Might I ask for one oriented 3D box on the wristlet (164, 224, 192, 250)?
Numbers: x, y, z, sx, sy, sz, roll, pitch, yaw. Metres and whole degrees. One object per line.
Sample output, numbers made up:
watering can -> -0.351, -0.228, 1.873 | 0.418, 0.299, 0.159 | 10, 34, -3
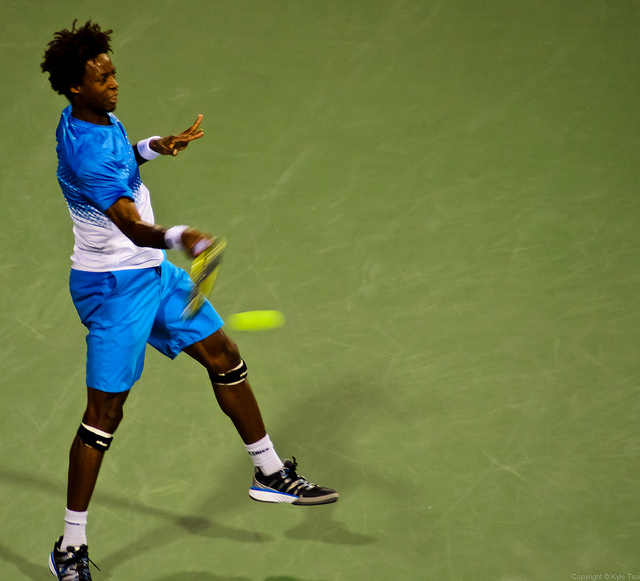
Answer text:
wristlet -> -0.539, -0.197, 3.622 | 0.099, 0.084, 0.083 | 12, -42, 23

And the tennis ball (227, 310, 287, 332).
tennis ball -> -0.332, 0.156, 5.048 | 0.292, 0.104, 0.083 | -2, -18, 1

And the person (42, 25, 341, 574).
person -> -0.756, 0.075, 4.036 | 0.809, 2.160, 0.872 | -3, -6, 15

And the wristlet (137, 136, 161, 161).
wristlet -> -0.782, -0.633, 4.338 | 0.114, 0.088, 0.118 | 6, -1, -45

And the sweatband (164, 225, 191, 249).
sweatband -> -0.539, -0.200, 3.621 | 0.099, 0.084, 0.072 | 2, -29, 18

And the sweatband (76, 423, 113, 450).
sweatband -> -0.925, 0.596, 3.939 | 0.130, 0.110, 0.055 | 0, -6, -9

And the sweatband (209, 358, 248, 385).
sweatband -> -0.401, 0.355, 4.211 | 0.132, 0.049, 0.126 | -10, 5, 40
